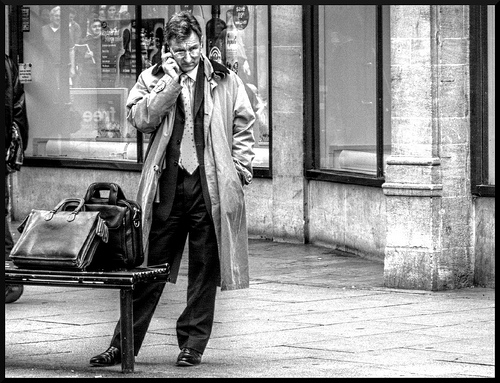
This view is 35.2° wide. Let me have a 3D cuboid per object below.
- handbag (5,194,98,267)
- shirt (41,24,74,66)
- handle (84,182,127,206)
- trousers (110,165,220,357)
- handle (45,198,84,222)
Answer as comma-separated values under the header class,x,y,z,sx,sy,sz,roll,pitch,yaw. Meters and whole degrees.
class,x,y,z,sx,sy,sz,roll,pitch,yaw
handbag,-1.279,0.236,5.352,0.486,0.533,0.161,2,-40,21
shirt,-3.594,-2.668,14.454,0.561,0.760,0.775,-1,3,-8
handle,-1.018,0.015,5.511,0.265,0.170,0.106,6,22,18
trousers,-0.601,0.443,5.651,0.801,1.753,0.390,-2,28,-14
handle,-1.270,0.125,5.494,0.256,0.134,0.411,0,4,4
